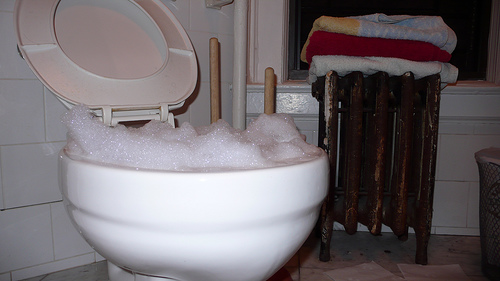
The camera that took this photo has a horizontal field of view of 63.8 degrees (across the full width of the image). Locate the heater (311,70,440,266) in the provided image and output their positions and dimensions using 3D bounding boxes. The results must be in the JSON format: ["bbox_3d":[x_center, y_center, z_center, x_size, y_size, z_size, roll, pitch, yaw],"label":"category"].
[{"bbox_3d":[0.756,0.128,2.279,0.996,0.934,0.973,4,0,4],"label":"heater"}]
